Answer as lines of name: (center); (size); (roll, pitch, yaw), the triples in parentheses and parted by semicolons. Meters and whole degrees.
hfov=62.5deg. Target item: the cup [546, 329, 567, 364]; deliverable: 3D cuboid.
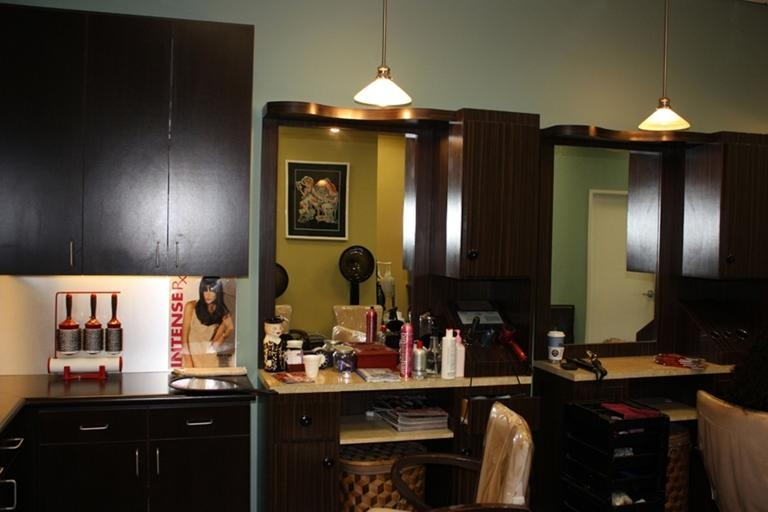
cup: (1.256, 0.660, 4.652); (0.181, 0.290, 0.211); (1, 0, 6)

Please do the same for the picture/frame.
picture/frame: (-0.508, -0.413, 4.484); (0.561, 0.701, 0.025); (1, -1, -17)

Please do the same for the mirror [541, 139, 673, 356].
mirror: (1.738, -0.029, 4.844); (1.249, 1.598, 0.156); (-2, 2, -16)

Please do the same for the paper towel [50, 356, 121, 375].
paper towel: (-1.959, 0.723, 4.149); (0.454, 0.131, 0.183); (-2, 2, -15)

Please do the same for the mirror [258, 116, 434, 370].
mirror: (-0.331, -0.095, 4.485); (1.682, 2.387, 0.254); (0, 4, -9)

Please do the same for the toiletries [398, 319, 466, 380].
toiletries: (0.333, 0.651, 4.280); (0.360, 0.308, 0.130); (0, 0, 3)

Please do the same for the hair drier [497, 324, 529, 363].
hair drier: (0.898, 0.609, 4.399); (0.196, 0.242, 0.115); (-1, 2, 21)

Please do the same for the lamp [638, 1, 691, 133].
lamp: (2.043, -1.457, 4.664); (0.345, 1.164, 1.053); (0, 2, 25)

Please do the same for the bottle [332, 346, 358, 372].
bottle: (-0.271, 0.702, 4.318); (0.154, 0.151, 0.164); (-2, 2, -9)

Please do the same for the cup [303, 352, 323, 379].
cup: (-0.469, 0.733, 4.185); (0.098, 0.107, 0.147); (-2, -7, 20)

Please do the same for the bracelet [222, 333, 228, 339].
bracelet: (-1.106, 0.556, 4.374); (0.039, 0.031, 0.040); (1, -2, -1)

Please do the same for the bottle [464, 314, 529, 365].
bottle: (0.778, 0.564, 4.444); (0.285, 0.097, 0.402); (4, 23, -16)
